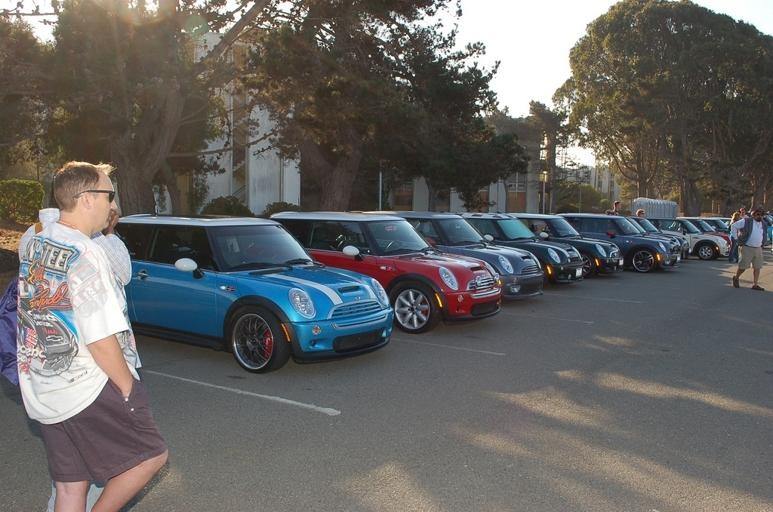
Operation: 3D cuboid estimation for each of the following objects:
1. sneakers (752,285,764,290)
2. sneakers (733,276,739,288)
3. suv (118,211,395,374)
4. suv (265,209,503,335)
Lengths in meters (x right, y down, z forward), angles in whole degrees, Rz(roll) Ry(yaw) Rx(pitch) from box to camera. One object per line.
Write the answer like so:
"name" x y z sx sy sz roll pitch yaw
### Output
"sneakers" 10.847 0.940 15.051 0.372 0.164 0.134 0 20 -6
"sneakers" 10.588 0.799 15.679 0.109 0.327 0.134 -4 -22 8
"suv" -2.322 0.376 8.044 4.073 1.777 2.091 4 6 33
"suv" 0.055 0.056 10.606 4.313 1.919 2.159 5 7 30
